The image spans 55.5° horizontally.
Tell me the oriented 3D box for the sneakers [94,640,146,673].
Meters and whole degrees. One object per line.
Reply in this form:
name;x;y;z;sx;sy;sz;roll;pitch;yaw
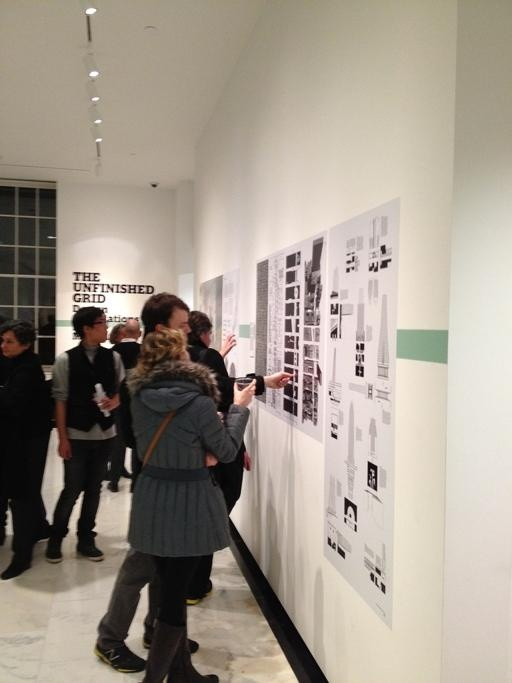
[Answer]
sneakers;-0.571;1.347;2.087;0.200;0.107;0.102;10;-6;16

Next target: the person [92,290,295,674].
person;-0.327;0.635;1.968;0.650;1.625;0.554;0;16;-14

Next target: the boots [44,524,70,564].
boots;-1.294;1.315;3.158;0.085;0.121;0.272;13;3;-19

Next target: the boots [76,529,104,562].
boots;-1.101;1.380;3.309;0.090;0.209;0.263;6;-10;-43
